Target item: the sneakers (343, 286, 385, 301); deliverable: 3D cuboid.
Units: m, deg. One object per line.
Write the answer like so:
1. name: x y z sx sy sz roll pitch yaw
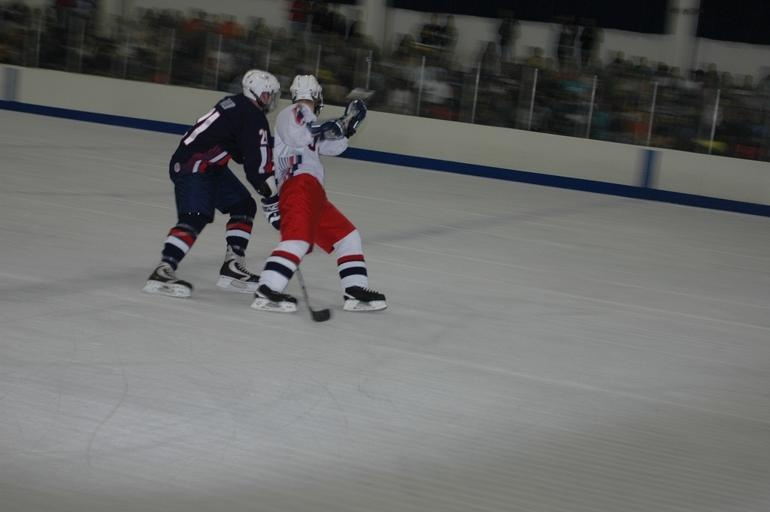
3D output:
1. sneakers: -0.125 0.228 5.207 0.261 0.083 0.084 -1 0 2

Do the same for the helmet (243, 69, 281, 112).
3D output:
1. helmet: -0.793 -1.013 5.475 0.282 0.228 0.217 7 10 -38

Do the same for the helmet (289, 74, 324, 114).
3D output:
1. helmet: -0.497 -0.993 5.414 0.210 0.204 0.238 0 7 -1

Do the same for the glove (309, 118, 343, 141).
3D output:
1. glove: -0.355 -0.753 5.312 0.175 0.059 0.113 -4 48 5

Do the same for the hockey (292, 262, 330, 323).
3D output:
1. hockey: -0.476 0.239 5.021 0.090 0.294 0.217 -28 -7 38

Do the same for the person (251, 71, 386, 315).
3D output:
1. person: -0.350 -0.377 5.263 0.710 1.386 0.651 7 7 -6
